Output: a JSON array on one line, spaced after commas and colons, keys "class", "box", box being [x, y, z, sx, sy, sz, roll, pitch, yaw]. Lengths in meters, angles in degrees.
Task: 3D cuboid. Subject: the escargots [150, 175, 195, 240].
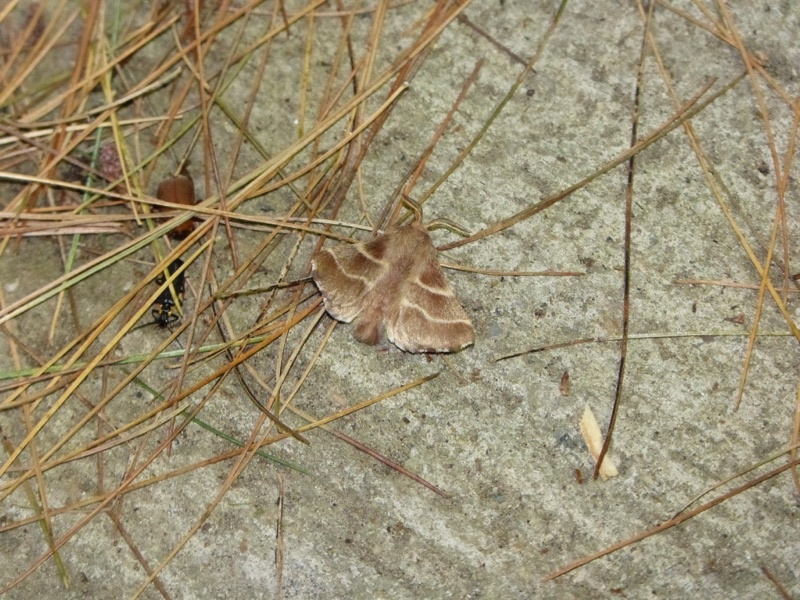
[{"class": "escargots", "box": [-1.103, -0.444, 4.144, 0.191, 0.315, 0.073, 2, -11, -12]}]

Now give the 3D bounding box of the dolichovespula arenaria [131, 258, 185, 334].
[{"class": "dolichovespula arenaria", "box": [-1.194, -0.001, 4.141, 0.230, 0.365, 0.221, -7, -52, -8]}]

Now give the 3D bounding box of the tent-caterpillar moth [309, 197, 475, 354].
[{"class": "tent-caterpillar moth", "box": [-0.030, -0.055, 3.805, 0.630, 0.610, 0.195, 23, -5, 6]}]
